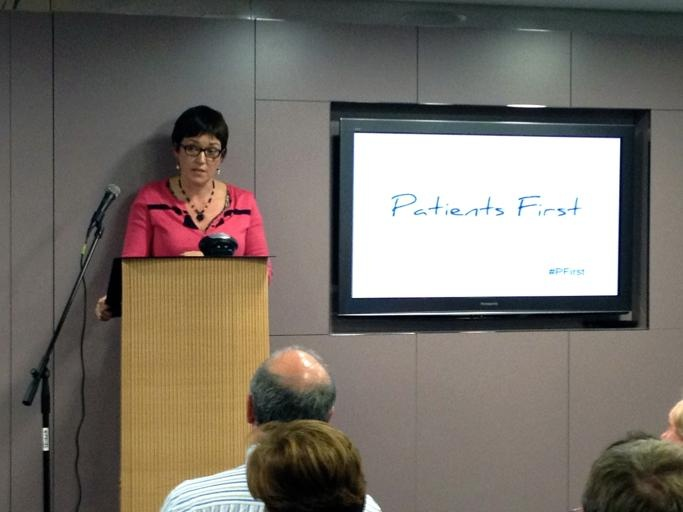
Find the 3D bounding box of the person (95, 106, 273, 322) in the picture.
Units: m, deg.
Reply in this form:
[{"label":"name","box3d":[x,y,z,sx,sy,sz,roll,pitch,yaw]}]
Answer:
[{"label":"person","box3d":[-0.899,-0.462,6.435,0.866,0.937,0.257,2,-3,-10]}]

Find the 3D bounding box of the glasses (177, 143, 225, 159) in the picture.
[{"label":"glasses","box3d":[-0.865,-0.644,6.415,0.255,0.088,0.060,1,-3,-10]}]

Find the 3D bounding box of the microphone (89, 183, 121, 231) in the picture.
[{"label":"microphone","box3d":[-1.498,-0.319,6.526,0.089,0.319,0.083,30,-7,16]}]

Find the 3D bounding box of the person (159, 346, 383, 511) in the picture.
[{"label":"person","box3d":[-0.431,0.889,5.324,1.243,0.942,0.582,1,7,-12]}]
